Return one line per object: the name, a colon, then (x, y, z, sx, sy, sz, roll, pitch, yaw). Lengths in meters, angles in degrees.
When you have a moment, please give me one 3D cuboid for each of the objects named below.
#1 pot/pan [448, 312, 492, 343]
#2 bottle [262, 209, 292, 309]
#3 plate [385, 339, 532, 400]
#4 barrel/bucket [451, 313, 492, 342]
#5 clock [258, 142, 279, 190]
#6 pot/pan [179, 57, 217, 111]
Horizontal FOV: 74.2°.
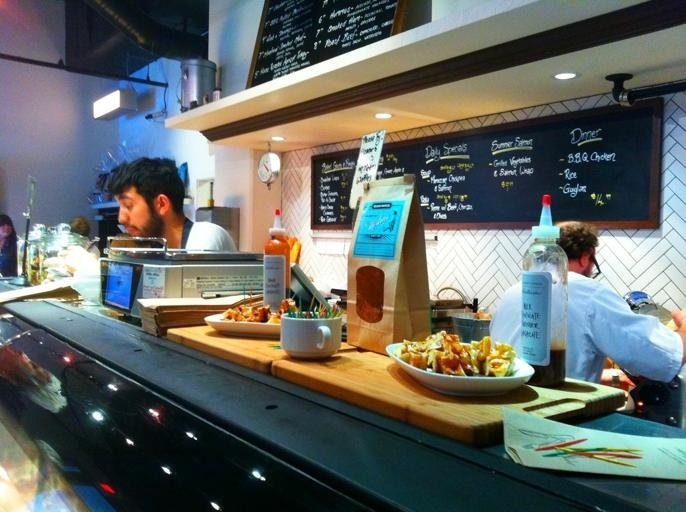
pot/pan: (0.473, 0.259, 1.684, 0.162, 0.113, 0.160, 2, -5, 0)
bottle: (-0.217, 0.010, 1.459, 0.096, 0.320, 0.231, -5, 12, 0)
plate: (0.239, 0.252, 0.926, 0.282, 0.084, 0.143, -2, 12, 11)
barrel/bucket: (0.470, 0.240, 1.685, 0.160, 0.111, 0.155, 2, -4, 0)
clock: (-0.775, -0.898, 4.707, 0.233, 0.428, 0.456, -7, 12, -10)
pot/pan: (-1.531, -1.799, 4.755, 0.426, 0.487, 0.381, -6, 12, -4)
